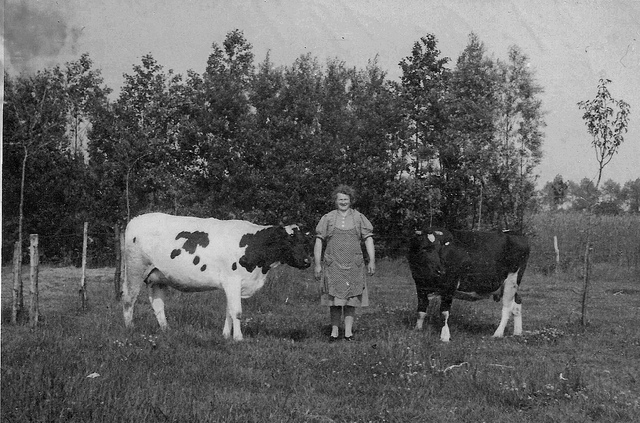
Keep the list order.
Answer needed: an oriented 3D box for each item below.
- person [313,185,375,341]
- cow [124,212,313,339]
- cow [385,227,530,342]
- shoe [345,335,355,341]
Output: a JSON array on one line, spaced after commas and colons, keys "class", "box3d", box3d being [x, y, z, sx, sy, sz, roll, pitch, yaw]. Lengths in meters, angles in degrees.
[{"class": "person", "box3d": [0.364, 0.788, 10.627, 0.903, 2.398, 0.305, 0, -2, -2]}, {"class": "cow", "box3d": [-1.698, 1.074, 11.265, 3.150, 1.979, 0.997, 3, 7, -3]}, {"class": "cow", "box3d": [2.317, 1.134, 11.251, 2.357, 1.863, 0.884, 0, 3, -10]}, {"class": "shoe", "box3d": [0.451, 1.967, 10.581, 0.147, 0.067, 0.057, -4, -3, 11]}]
